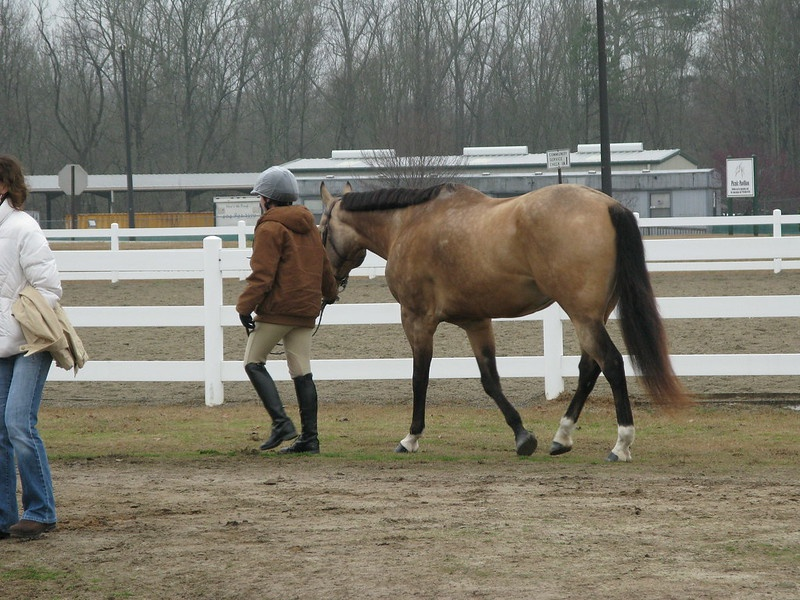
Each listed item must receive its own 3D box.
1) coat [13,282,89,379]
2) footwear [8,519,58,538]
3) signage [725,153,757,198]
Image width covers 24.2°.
[{"bbox_3d":[-9.694,0.867,51.243,0.993,2.401,1.891,-37,-21,20],"label":"coat"},{"bbox_3d":[-10.136,6.346,51.301,1.184,0.536,0.479,4,-1,-13],"label":"footwear"},{"bbox_3d":[13.184,-4.694,72.504,0.804,1.581,1.787,-5,7,-22],"label":"signage"}]
